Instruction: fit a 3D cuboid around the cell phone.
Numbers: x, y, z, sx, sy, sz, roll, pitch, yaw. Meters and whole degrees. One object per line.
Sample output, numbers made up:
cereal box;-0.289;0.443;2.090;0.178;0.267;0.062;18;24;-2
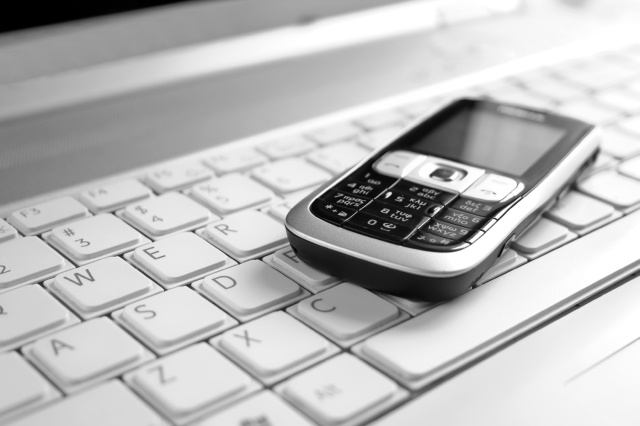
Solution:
cell phone;0.091;-0.022;0.337;0.126;0.040;0.233;21;36;35
